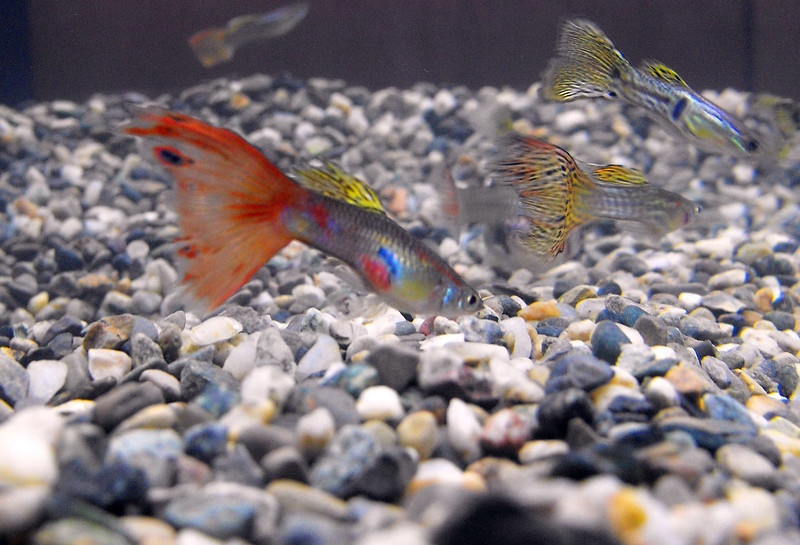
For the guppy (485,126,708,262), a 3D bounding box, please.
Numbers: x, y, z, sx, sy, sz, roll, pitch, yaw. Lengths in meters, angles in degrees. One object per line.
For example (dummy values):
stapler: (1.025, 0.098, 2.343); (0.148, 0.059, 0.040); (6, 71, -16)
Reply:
guppy: (0.654, -0.236, 2.633); (0.717, 0.357, 0.151); (5, 3, -16)
